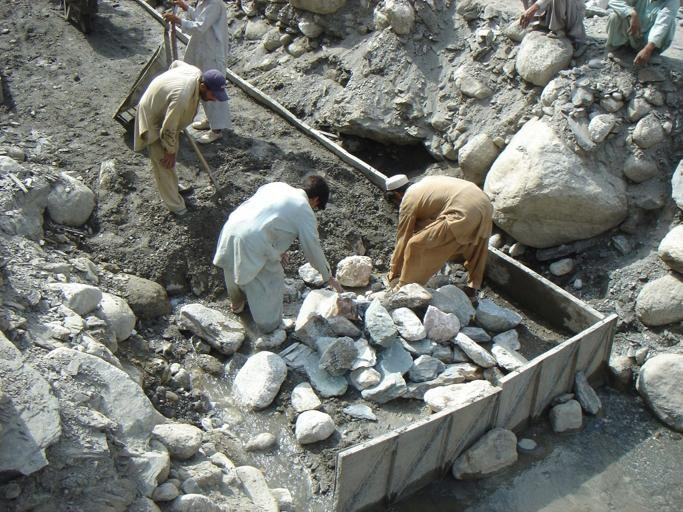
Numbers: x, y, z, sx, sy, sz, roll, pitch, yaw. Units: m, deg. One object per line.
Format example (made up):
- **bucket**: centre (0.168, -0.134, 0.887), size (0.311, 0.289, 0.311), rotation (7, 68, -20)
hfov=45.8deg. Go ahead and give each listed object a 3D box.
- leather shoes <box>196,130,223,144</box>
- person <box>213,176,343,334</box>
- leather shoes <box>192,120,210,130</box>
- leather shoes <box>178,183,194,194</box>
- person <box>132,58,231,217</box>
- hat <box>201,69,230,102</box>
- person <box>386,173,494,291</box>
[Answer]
- **leather shoes**: centre (-1.544, -1.378, 9.479), size (0.324, 0.143, 0.140), rotation (-12, 68, -11)
- **person**: centre (-0.689, -0.028, 8.181), size (1.088, 1.576, 0.859), rotation (-11, 34, -31)
- **leather shoes**: centre (-1.655, -1.537, 9.547), size (0.245, 0.108, 0.099), rotation (-3, 74, -9)
- **leather shoes**: centre (-1.714, -0.738, 8.874), size (0.122, 0.084, 0.046), rotation (-32, 84, -41)
- **person**: centre (-1.771, -1.249, 8.679), size (0.880, 1.632, 0.809), rotation (11, 35, 4)
- **hat**: centre (-1.280, -1.797, 8.426), size (0.372, 0.222, 0.240), rotation (38, 23, 15)
- **person**: centre (0.988, -0.254, 8.583), size (1.053, 1.292, 0.986), rotation (2, 22, 3)
